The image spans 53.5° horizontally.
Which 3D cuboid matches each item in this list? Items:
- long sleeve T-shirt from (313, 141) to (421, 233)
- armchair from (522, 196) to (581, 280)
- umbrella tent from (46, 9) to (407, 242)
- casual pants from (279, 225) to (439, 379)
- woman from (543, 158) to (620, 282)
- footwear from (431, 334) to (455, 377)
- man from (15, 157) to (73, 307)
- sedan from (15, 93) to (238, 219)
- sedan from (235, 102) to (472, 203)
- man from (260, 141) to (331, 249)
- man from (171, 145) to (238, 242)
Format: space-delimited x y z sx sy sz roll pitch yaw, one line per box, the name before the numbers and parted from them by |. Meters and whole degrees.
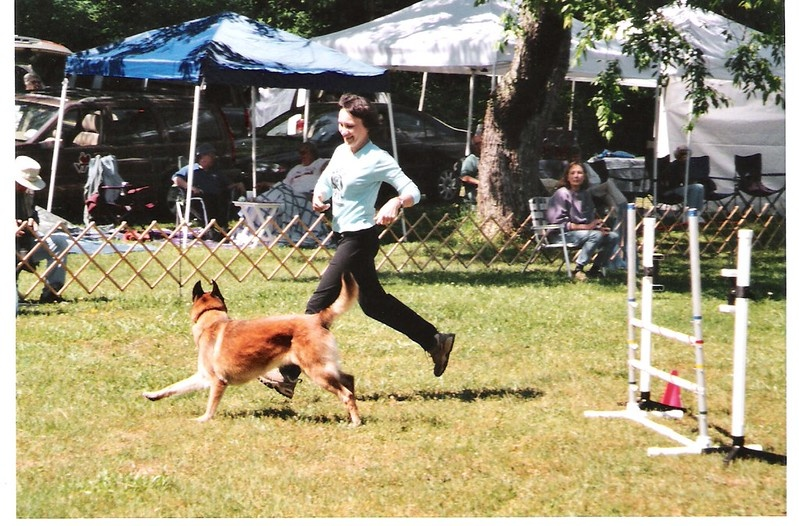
long sleeve T-shirt | -0.378 -0.709 7.647 1.255 0.817 0.498 6 7 27
armchair | 2.699 -0.447 13.348 1.234 1.192 1.158 -4 10 -31
umbrella tent | -3.297 -3.083 14.645 6.155 2.598 5.847 5 13 1
casual pants | -0.488 0.499 9.347 2.019 0.461 1.888 -4 -31 -5
woman | 2.990 -0.664 12.993 1.157 1.873 0.524 5 10 8
footwear | 0.399 0.936 8.101 0.272 0.502 0.177 -5 33 -18
man | -4.705 -0.410 10.458 0.641 1.952 1.091 0 10 -22
sedan | -5.270 -2.321 15.609 4.185 1.610 2.118 -2 6 -41
sedan | -0.844 -2.400 17.282 4.912 1.520 2.147 -1 4 -35
man | -1.778 -1.212 14.301 1.602 1.774 0.705 -2 -8 16
man | -3.414 -1.294 14.587 1.232 1.717 0.943 -6 -4 24
